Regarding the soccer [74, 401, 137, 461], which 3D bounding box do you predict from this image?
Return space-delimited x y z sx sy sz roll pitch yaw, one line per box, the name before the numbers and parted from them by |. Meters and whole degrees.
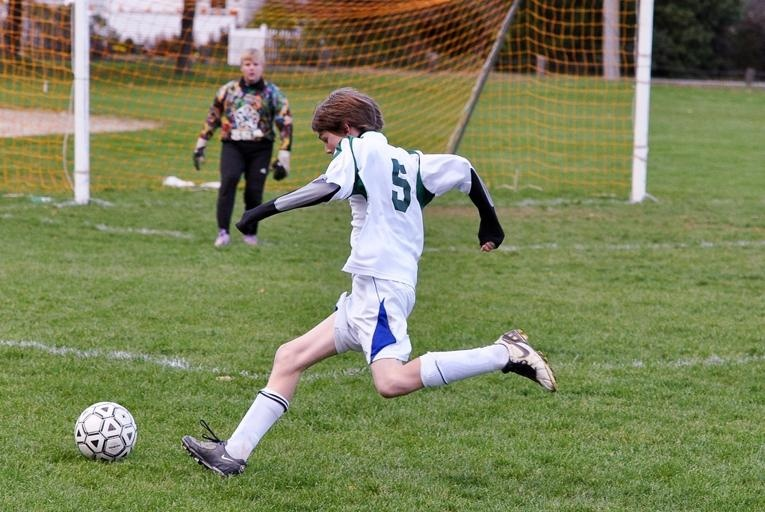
soccer | -2.639 1.762 12.126 0.503 0.494 0.508 -10 -4 43
